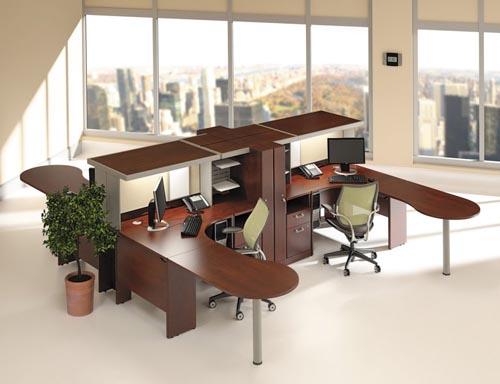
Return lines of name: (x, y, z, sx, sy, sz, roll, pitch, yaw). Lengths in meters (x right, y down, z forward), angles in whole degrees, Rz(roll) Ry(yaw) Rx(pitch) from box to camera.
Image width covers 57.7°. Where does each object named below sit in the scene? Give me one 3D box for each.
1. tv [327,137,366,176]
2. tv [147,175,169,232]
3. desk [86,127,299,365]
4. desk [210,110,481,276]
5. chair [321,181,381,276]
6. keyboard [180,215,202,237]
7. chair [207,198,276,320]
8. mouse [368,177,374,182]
tv: (1.499, -0.560, 7.115, 0.560, 0.555, 0.314, 0, 20, 7)
tv: (-1.099, 0.138, 5.362, 0.216, 0.490, 0.549, 0, 17, -5)
desk: (-0.823, 0.584, 5.096, 1.554, 1.676, 2.757, -2, 16, -27)
desk: (1.231, 0.243, 6.530, 2.487, 1.545, 2.652, 11, 19, 37)
chair: (1.424, 0.422, 6.197, 0.841, 1.205, 0.817, -15, 19, -42)
keyboard: (-0.681, 0.398, 5.302, 0.166, 0.088, 0.378, 3, 26, 4)
chair: (-0.104, 0.762, 5.273, 0.783, 1.225, 0.856, -1, 15, -11)
mouse: (1.810, -0.183, 6.787, 0.062, 0.076, 0.081, 7, 12, 36)
